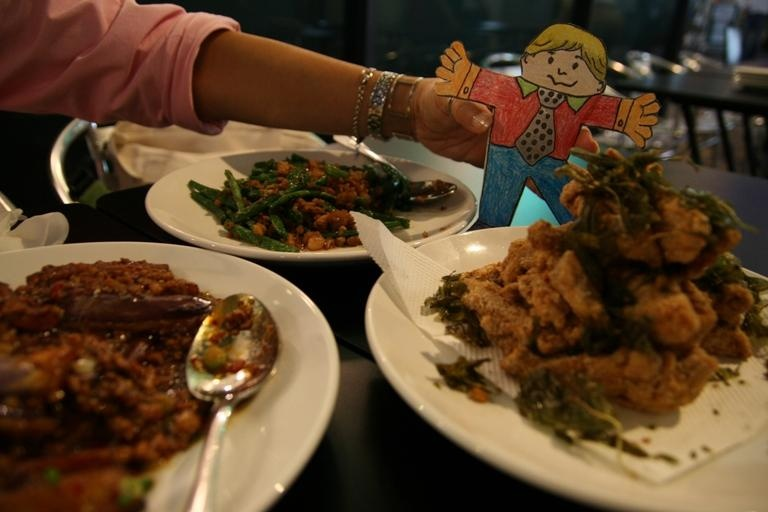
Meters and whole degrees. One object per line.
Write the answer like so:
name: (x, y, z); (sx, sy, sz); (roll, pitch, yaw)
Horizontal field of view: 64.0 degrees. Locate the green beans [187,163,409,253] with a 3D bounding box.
green beans: (-0.285, -0.229, 2.327); (0.618, 0.303, 0.994); (4, 16, 39)
